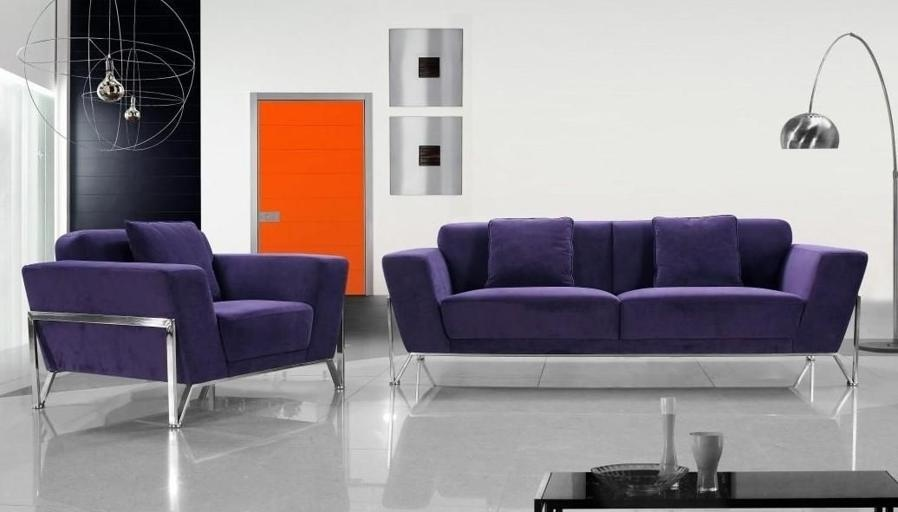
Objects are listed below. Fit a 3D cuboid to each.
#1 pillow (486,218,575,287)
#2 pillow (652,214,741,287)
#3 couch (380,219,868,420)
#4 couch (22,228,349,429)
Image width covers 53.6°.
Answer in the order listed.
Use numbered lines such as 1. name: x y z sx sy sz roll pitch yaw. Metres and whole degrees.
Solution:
1. pillow: 0.701 -0.008 7.447 0.690 0.490 0.217 0 -20 6
2. pillow: 2.082 -0.036 7.509 0.811 0.582 0.246 -1 -3 -6
3. couch: 1.420 0.299 7.407 3.757 1.042 1.107 0 10 9
4. couch: -1.993 0.386 7.063 1.712 1.204 1.967 3 5 26
